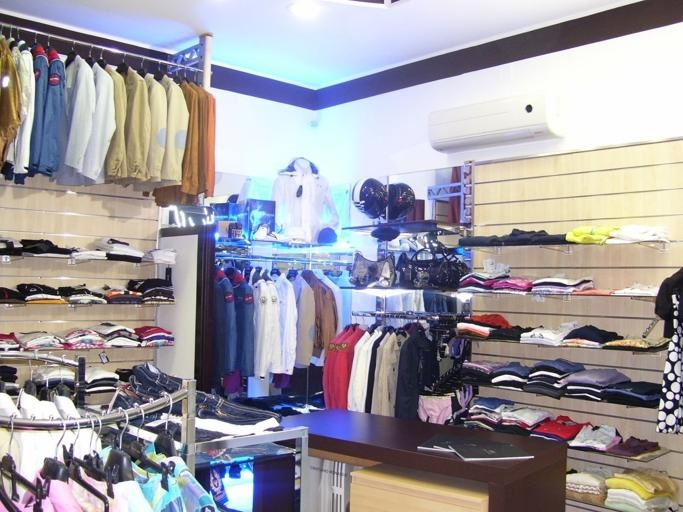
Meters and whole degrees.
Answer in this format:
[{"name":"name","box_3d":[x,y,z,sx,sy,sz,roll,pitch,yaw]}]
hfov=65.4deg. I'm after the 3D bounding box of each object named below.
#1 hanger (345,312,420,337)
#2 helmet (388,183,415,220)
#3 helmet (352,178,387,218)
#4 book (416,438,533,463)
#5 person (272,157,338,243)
[{"name":"hanger","box_3d":[0.456,0.599,4.873,0.638,0.198,0.364,0,0,29]},{"name":"helmet","box_3d":[0.552,-0.506,4.977,0.348,0.349,0.295,2,5,-15]},{"name":"helmet","box_3d":[0.285,-0.536,5.014,0.311,0.344,0.351,6,24,39]},{"name":"book","box_3d":[0.632,0.913,2.551,0.376,0.041,0.332,-2,-1,40]},{"name":"person","box_3d":[-0.386,-0.595,5.677,0.743,0.862,0.314,0,0,-44]}]
